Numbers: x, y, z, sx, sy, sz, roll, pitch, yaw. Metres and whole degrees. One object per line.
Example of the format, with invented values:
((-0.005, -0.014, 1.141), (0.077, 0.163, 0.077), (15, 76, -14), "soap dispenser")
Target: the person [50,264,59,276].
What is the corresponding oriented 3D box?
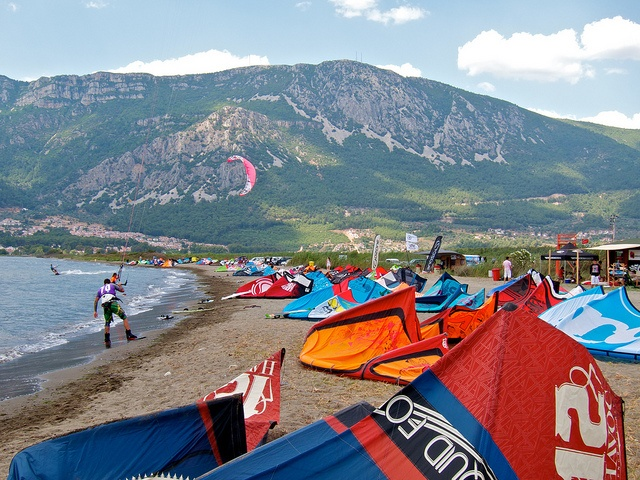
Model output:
((-27.387, 3.094, 58.845), (0.599, 0.535, 0.867), (-2, 12, -11), "person")
